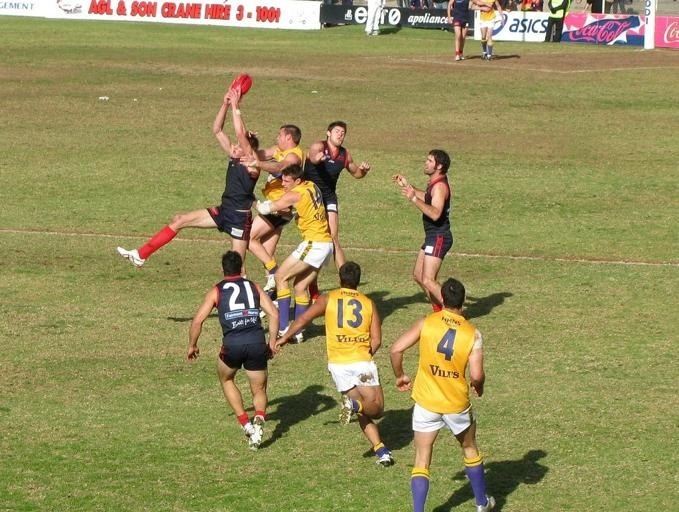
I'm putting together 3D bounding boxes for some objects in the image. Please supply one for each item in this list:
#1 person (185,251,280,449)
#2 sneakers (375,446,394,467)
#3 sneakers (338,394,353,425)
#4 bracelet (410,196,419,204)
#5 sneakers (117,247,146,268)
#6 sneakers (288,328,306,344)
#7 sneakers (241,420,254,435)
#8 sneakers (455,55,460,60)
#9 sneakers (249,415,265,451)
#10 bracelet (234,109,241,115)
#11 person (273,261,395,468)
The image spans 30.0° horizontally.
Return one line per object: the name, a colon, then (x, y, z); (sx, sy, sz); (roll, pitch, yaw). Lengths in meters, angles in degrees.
person: (-1.580, 1.411, 19.046); (1.253, 2.835, 1.115); (1, 12, -1)
sneakers: (0.680, 2.979, 18.785); (0.200, 0.171, 0.397); (-1, 6, -8)
sneakers: (0.103, 2.318, 18.713); (0.248, 0.444, 0.207); (1, 26, -10)
bracelet: (1.265, -0.956, 21.206); (0.096, 0.092, 0.098); (5, -27, 43)
sneakers: (-3.910, 0.047, 23.640); (0.536, 0.218, 0.169); (28, 14, -5)
sneakers: (-0.683, 1.442, 21.853); (0.195, 0.208, 0.354); (1, -1, 28)
sneakers: (-1.364, 2.581, 18.843); (0.102, 0.249, 0.112); (-26, -14, -6)
sneakers: (3.815, -6.300, 40.170); (0.175, 0.149, 0.154); (3, 3, 7)
sneakers: (-1.236, 2.640, 18.874); (0.234, 0.507, 0.259); (10, 4, -1)
bracelet: (-1.818, -2.526, 22.289); (0.132, 0.029, 0.107); (-1, 30, -9)
person: (0.163, 1.628, 18.884); (0.962, 2.972, 1.458); (-6, 13, -30)
